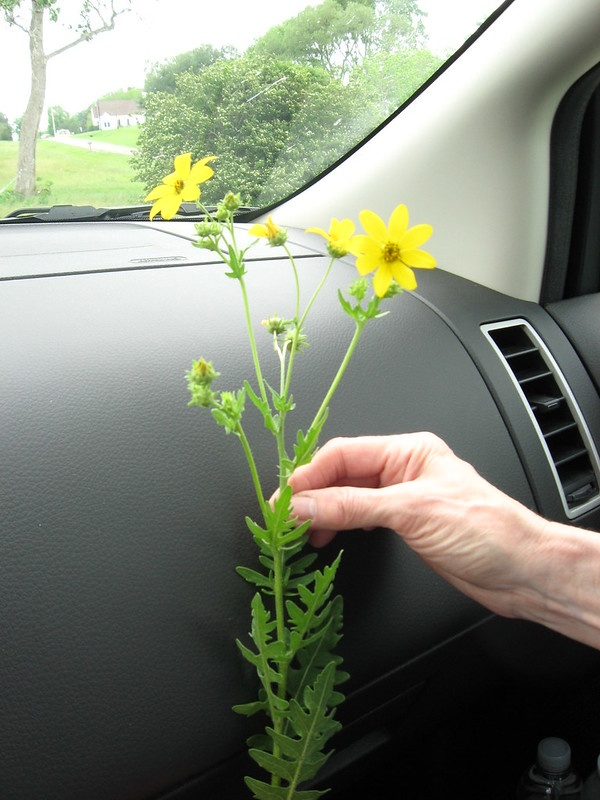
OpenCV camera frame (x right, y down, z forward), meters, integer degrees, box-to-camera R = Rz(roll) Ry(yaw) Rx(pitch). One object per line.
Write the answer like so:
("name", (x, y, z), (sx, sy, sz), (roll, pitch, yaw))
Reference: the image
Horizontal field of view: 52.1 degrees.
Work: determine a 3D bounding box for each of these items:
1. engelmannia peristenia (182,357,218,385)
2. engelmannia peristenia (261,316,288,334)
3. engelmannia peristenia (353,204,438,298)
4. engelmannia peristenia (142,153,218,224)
("engelmannia peristenia", (-0.080, -0.028, 0.492), (0.025, 0.027, 0.023), (-13, 61, -10))
("engelmannia peristenia", (-0.022, -0.071, 0.578), (0.027, 0.025, 0.010), (-2, 17, 3))
("engelmannia peristenia", (0.075, -0.126, 0.506), (0.067, 0.067, 0.015), (1, 54, 22))
("engelmannia peristenia", (-0.110, -0.190, 0.545), (0.048, 0.011, 0.042), (-6, 37, -43))
